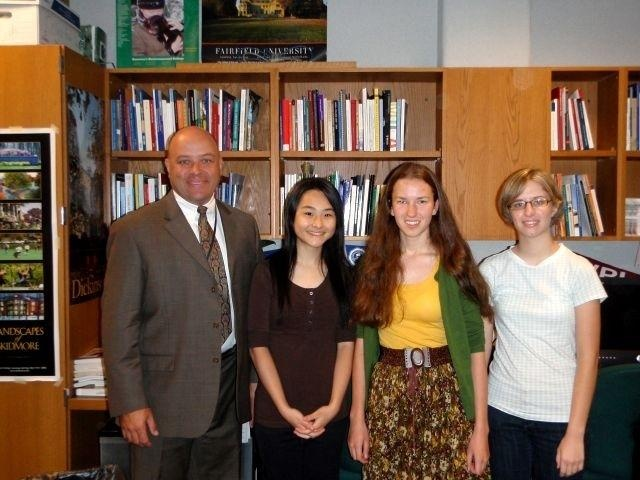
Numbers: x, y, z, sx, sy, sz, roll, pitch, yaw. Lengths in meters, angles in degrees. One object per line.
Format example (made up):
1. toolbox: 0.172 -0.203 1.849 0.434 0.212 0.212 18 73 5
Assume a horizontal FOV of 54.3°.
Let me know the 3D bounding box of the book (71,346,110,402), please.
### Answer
1. book: -1.387 0.821 3.754 0.190 0.252 0.083 -2 3 -2
